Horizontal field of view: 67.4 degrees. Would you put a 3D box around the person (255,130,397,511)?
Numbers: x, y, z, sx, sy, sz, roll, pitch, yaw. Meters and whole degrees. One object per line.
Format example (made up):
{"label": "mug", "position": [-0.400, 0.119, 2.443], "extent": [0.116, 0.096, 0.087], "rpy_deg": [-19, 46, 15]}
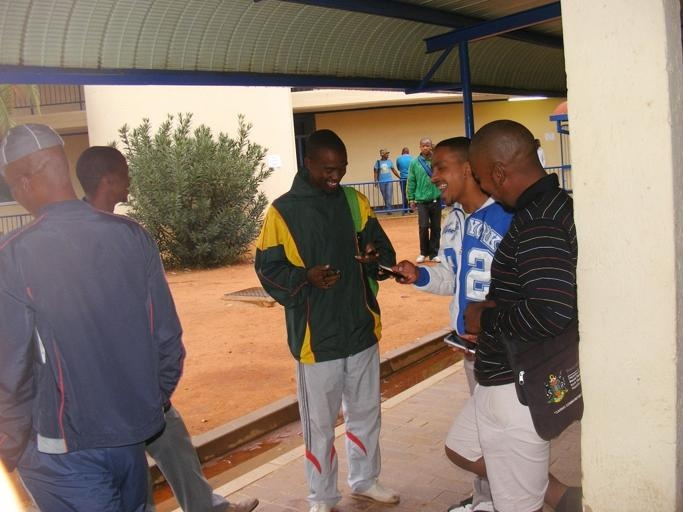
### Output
{"label": "person", "position": [-0.079, 0.476, 3.733], "extent": [0.948, 2.732, 0.563], "rpy_deg": [-8, 10, -16]}

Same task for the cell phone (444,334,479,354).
{"label": "cell phone", "position": [0.715, 0.536, 3.071], "extent": [0.191, 0.045, 0.109], "rpy_deg": [27, 30, 18]}

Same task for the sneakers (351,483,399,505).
{"label": "sneakers", "position": [0.281, 1.774, 3.885], "extent": [0.274, 0.110, 0.147], "rpy_deg": [-4, -8, 17]}
